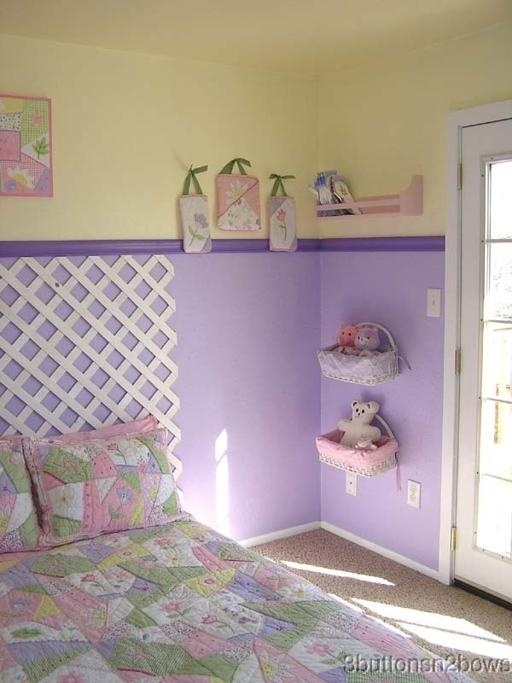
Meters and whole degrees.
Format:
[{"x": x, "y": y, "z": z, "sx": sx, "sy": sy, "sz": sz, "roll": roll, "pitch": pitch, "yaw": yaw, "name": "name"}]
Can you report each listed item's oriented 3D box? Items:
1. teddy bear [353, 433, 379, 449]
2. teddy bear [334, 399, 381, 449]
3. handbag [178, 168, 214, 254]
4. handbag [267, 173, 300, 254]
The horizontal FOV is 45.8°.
[{"x": 0.510, "y": 0.458, "z": 2.796, "sx": 0.087, "sy": 0.034, "sz": 0.082, "roll": -4, "pitch": -2, "yaw": 12, "name": "teddy bear"}, {"x": 0.494, "y": 0.395, "z": 2.890, "sx": 0.064, "sy": 0.242, "sz": 0.226, "roll": 14, "pitch": -3, "yaw": -34, "name": "teddy bear"}, {"x": -0.266, "y": -0.598, "z": 2.740, "sx": 0.072, "sy": 0.397, "sz": 0.180, "roll": 5, "pitch": 4, "yaw": 44, "name": "handbag"}, {"x": 0.138, "y": -0.646, "z": 3.027, "sx": 0.194, "sy": 0.393, "sz": 0.055, "roll": 0, "pitch": 4, "yaw": -40, "name": "handbag"}]
